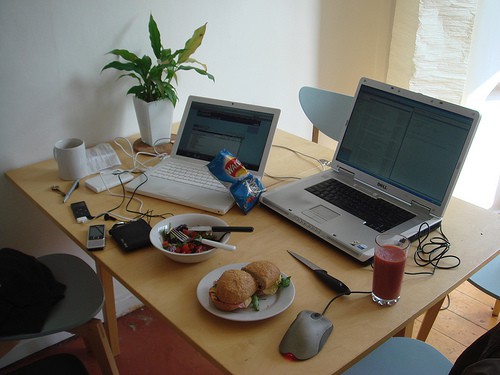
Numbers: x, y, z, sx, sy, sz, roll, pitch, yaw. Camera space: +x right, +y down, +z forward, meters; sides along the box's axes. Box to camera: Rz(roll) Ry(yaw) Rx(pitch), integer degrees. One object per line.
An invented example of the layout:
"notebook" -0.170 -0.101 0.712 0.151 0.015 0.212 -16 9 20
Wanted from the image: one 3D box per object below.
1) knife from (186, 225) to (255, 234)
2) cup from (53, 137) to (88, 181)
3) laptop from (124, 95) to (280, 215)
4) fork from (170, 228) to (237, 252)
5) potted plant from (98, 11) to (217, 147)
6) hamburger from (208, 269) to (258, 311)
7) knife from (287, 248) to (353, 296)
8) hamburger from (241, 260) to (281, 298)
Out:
"knife" -0.101 0.128 1.126 0.232 0.025 0.028 1 -3 25
"cup" -0.707 -0.106 1.445 0.128 0.122 0.100 29 40 29
"laptop" -0.168 -0.142 1.396 0.501 0.330 0.476 21 33 22
"fork" -0.146 0.158 1.098 0.193 0.032 0.027 13 27 34
"potted plant" -0.445 -0.518 1.896 0.543 0.616 0.560 -23 43 -37
"hamburger" -0.039 0.258 0.976 0.117 0.059 0.164 10 18 16
"knife" 0.199 0.242 1.108 0.050 0.041 0.252 -31 40 -20
"hamburger" 0.027 0.237 1.001 0.118 0.065 0.114 12 16 16
